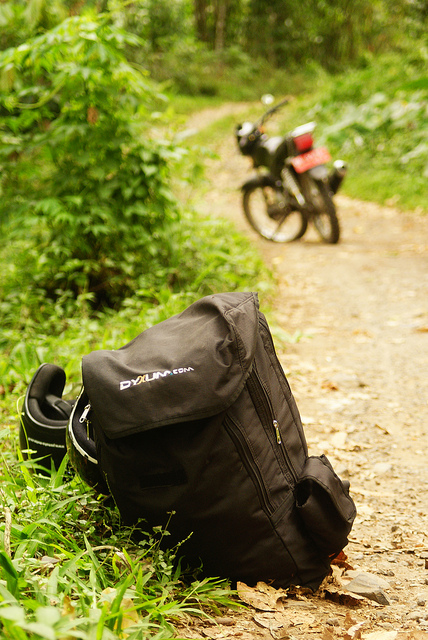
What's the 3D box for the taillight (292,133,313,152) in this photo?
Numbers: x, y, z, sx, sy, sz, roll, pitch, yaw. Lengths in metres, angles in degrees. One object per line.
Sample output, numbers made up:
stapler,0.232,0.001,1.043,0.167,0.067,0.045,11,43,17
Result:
taillight,0.776,-1.559,5.458,0.201,0.163,0.063,-11,27,-26
